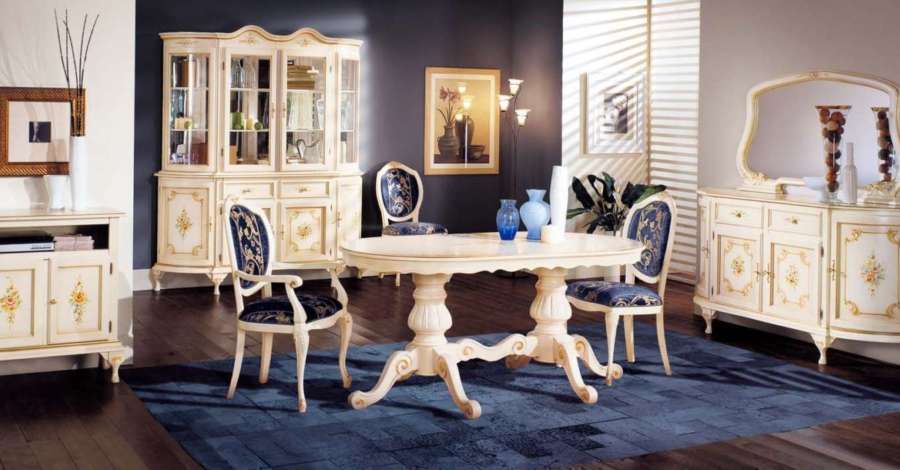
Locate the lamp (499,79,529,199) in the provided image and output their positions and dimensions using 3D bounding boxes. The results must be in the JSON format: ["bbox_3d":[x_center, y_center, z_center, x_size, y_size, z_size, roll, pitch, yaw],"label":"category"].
[{"bbox_3d":[0.915,-1.366,8.647,0.410,1.697,0.741,0,11,4],"label":"lamp"}]

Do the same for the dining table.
[{"bbox_3d":[0.251,0.533,4.941,2.844,1.065,1.512,-1,2,-25],"label":"dining table"}]
